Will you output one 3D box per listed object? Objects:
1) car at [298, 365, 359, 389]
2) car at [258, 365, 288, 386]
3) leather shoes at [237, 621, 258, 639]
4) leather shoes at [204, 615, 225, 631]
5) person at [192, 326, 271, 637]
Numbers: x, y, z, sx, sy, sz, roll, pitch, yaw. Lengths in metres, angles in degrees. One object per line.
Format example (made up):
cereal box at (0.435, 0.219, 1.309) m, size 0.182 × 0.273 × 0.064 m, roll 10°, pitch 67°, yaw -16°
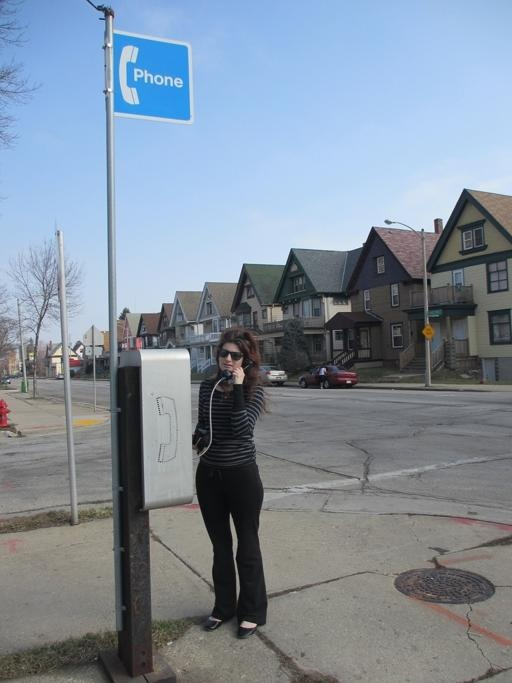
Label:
car at (4.006, 2.021, 31.062) m, size 1.305 × 0.993 × 2.862 m, roll 1°, pitch 1°, yaw -32°
car at (0.979, 2.246, 37.258) m, size 1.126 × 0.925 × 2.727 m, roll -1°, pitch 3°, yaw -8°
leather shoes at (-0.042, 1.550, 3.053) m, size 0.122 × 0.053 × 0.098 m, roll -1°, pitch -2°, yaw -12°
leather shoes at (-0.235, 1.568, 3.168) m, size 0.082 × 0.049 × 0.147 m, roll -2°, pitch -2°, yaw 27°
person at (-0.126, 0.755, 3.276) m, size 0.433 × 1.688 × 0.499 m, roll 0°, pitch -1°, yaw -23°
